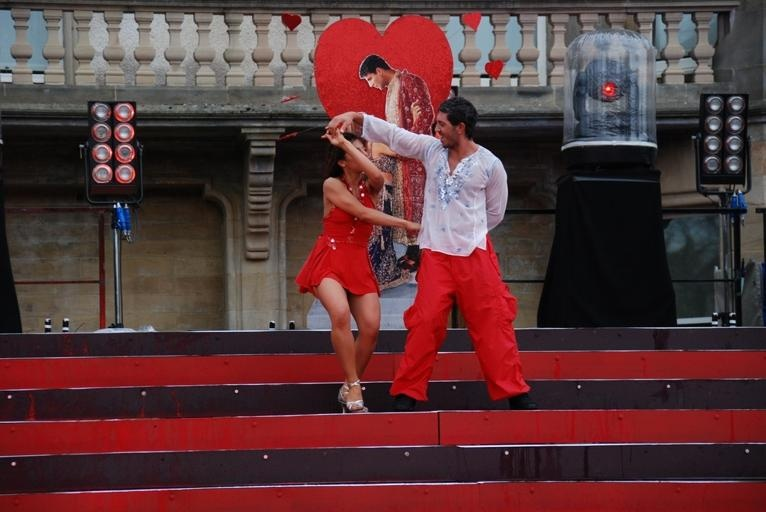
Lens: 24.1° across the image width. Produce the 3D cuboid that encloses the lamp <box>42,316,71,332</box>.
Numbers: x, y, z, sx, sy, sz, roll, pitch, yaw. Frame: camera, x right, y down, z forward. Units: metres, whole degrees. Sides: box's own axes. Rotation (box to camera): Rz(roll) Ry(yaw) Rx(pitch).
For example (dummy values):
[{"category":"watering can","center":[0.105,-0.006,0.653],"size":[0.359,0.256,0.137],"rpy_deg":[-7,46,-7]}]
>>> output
[{"category":"lamp","center":[-3.892,0.780,21.231],"size":[0.252,0.214,0.084],"rpy_deg":[-2,-18,-10]}]

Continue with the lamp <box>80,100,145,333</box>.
[{"category":"lamp","center":[-3.034,-0.523,19.999],"size":[0.675,2.567,1.883],"rpy_deg":[-2,3,-9]}]

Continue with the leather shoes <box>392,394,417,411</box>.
[{"category":"leather shoes","center":[0.180,1.373,16.991],"size":[0.172,0.141,0.167],"rpy_deg":[0,2,2]}]

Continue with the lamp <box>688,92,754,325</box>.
[{"category":"lamp","center":[3.887,-0.605,20.629],"size":[0.635,2.674,2.125],"rpy_deg":[-1,3,12]}]

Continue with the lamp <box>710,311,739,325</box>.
[{"category":"lamp","center":[3.791,0.681,20.040],"size":[0.210,0.129,0.201],"rpy_deg":[0,2,-1]}]
